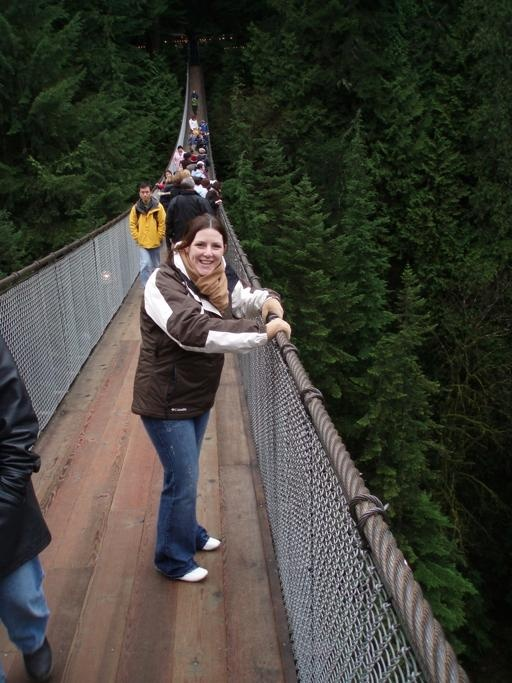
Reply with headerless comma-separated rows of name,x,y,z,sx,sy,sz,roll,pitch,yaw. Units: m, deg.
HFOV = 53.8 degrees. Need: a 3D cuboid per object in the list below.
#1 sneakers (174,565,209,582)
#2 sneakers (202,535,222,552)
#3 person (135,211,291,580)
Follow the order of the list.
sneakers,-0.320,1.180,2.576,0.180,0.081,0.068,-8,62,22
sneakers,-0.246,1.135,2.813,0.057,0.131,0.048,31,59,-21
person,-0.205,0.386,2.364,0.604,1.885,0.667,12,25,21
